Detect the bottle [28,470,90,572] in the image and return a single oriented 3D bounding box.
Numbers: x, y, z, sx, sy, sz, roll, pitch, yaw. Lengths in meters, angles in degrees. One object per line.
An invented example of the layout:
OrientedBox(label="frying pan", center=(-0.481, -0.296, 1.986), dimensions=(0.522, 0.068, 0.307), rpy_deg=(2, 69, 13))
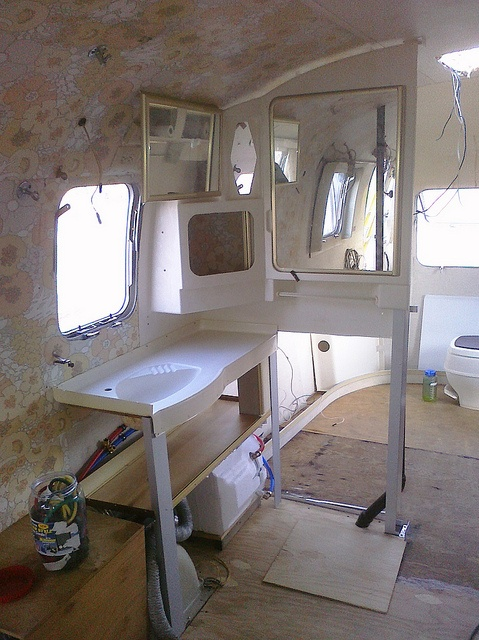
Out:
OrientedBox(label="bottle", center=(-0.577, 0.644, 1.668), dimensions=(0.168, 0.253, 0.183), rpy_deg=(-2, 11, 0))

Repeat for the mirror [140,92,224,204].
OrientedBox(label="mirror", center=(-0.212, -0.669, 2.071), dimensions=(0.067, 0.384, 0.621), rpy_deg=(-12, 21, -32))
